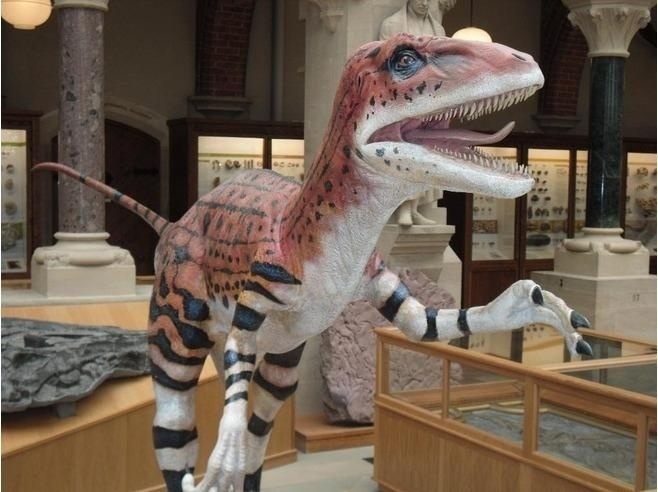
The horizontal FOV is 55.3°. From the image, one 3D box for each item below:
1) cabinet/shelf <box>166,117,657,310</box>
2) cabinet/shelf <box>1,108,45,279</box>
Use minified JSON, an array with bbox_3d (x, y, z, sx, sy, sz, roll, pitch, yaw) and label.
[{"bbox_3d":[1.846,-0.515,9.933,7.991,2.867,0.992,-2,4,-9],"label":"cabinet/shelf"},{"bbox_3d":[-4.018,-0.657,8.161,0.527,2.158,0.305,-3,4,-26],"label":"cabinet/shelf"}]
